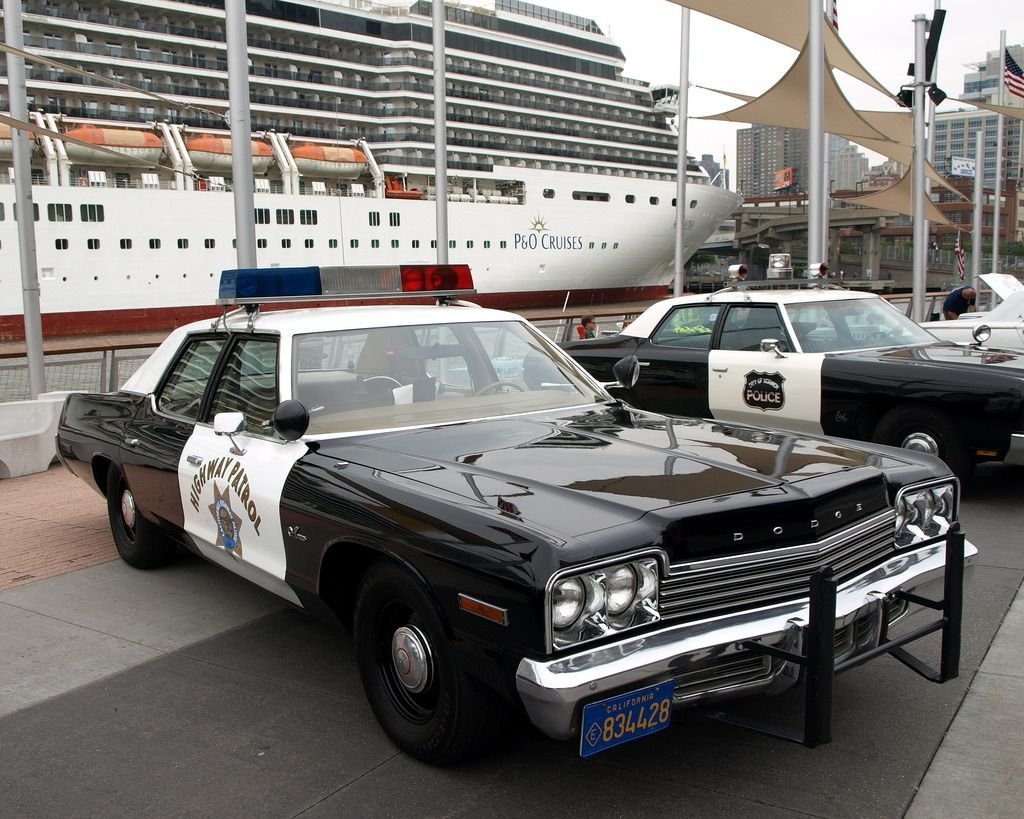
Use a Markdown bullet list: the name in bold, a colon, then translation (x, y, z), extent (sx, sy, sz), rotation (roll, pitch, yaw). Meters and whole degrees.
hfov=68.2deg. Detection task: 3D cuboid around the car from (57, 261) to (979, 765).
- **car**: translation (-0.545, 0.145, 4.146), extent (2.138, 1.312, 4.609), rotation (-5, 8, -41)
